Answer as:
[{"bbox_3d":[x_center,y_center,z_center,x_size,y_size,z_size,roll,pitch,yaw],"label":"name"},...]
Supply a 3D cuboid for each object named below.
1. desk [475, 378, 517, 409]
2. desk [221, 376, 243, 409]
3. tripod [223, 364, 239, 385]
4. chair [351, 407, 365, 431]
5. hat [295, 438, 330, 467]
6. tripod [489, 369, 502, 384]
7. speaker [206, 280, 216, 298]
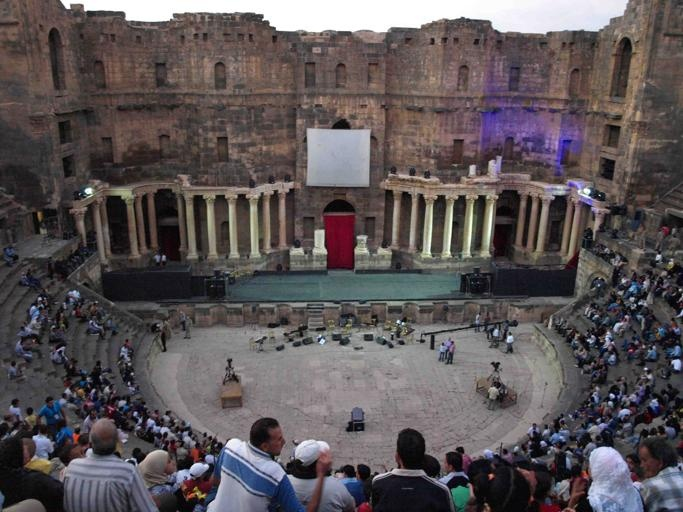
[{"bbox_3d":[8.347,6.775,29.042,1.215,0.535,2.268,-25,31,-38],"label":"desk"},{"bbox_3d":[-5.719,7.271,28.852,0.997,0.498,2.197,-1,25,-6],"label":"desk"},{"bbox_3d":[-6.047,6.495,30.310,0.822,1.215,0.895,-3,24,-10],"label":"tripod"},{"bbox_3d":[0.808,8.063,27.124,0.921,0.471,0.908,-2,38,0],"label":"chair"},{"bbox_3d":[-0.516,3.464,9.994,0.619,0.239,0.396,-23,33,-39],"label":"hat"},{"bbox_3d":[8.539,6.675,30.658,0.433,0.825,0.474,8,54,10],"label":"tripod"},{"bbox_3d":[-9.096,2.249,38.748,0.630,1.118,1.127,-1,7,-10],"label":"speaker"}]
